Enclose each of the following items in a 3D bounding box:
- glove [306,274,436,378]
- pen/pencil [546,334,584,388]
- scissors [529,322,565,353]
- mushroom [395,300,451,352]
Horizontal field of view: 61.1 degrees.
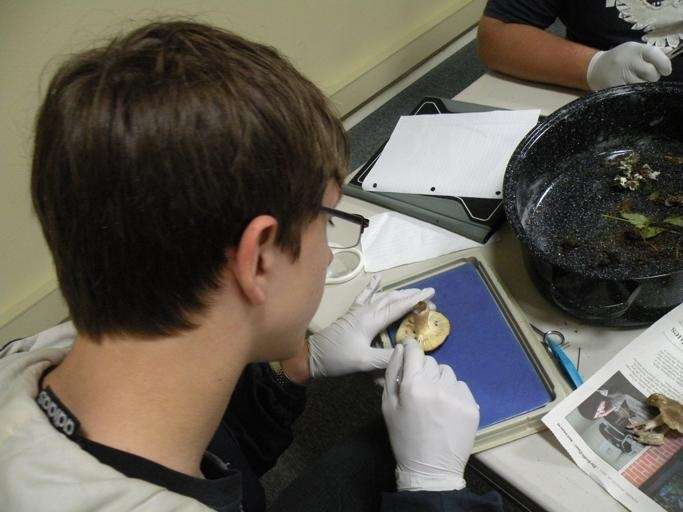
[{"bbox_3d":[0.073,0.200,1.406,0.074,0.244,0.245,38,32,-10],"label":"glove"},{"bbox_3d":[0.468,0.224,1.224,0.018,0.029,0.114,-7,51,-22],"label":"pen/pencil"},{"bbox_3d":[0.447,0.177,1.273,0.080,0.012,0.041,23,47,40],"label":"scissors"},{"bbox_3d":[0.179,0.153,1.318,0.116,0.116,0.079,-13,77,27],"label":"mushroom"}]
